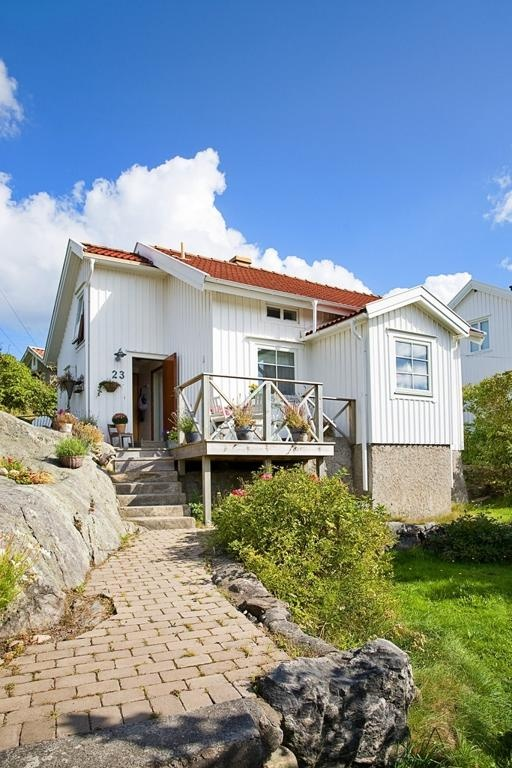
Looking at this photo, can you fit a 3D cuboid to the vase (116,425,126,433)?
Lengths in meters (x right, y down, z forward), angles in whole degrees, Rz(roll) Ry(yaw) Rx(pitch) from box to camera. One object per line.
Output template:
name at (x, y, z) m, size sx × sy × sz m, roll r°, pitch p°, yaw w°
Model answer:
vase at (-2.937, 0.964, 13.016) m, size 0.170 × 0.143 × 0.176 m, roll -1°, pitch -4°, yaw 24°

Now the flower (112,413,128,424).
flower at (-2.974, 0.725, 13.006) m, size 0.226 × 0.241 × 0.226 m, roll 14°, pitch -19°, yaw -39°

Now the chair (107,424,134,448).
chair at (-2.911, 1.132, 13.122) m, size 0.521 × 0.813 × 0.459 m, roll -6°, pitch -9°, yaw 37°

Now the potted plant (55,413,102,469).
potted plant at (-2.738, 0.849, 9.154) m, size 0.798 × 0.462 × 0.729 m, roll -10°, pitch -18°, yaw 44°

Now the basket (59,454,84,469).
basket at (-2.465, 1.015, 7.863) m, size 0.342 × 0.179 × 0.414 m, roll 2°, pitch -5°, yaw -11°

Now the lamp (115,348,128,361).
lamp at (-3.058, -0.659, 13.505) m, size 0.236 × 0.226 × 0.239 m, roll -6°, pitch -14°, yaw 36°
